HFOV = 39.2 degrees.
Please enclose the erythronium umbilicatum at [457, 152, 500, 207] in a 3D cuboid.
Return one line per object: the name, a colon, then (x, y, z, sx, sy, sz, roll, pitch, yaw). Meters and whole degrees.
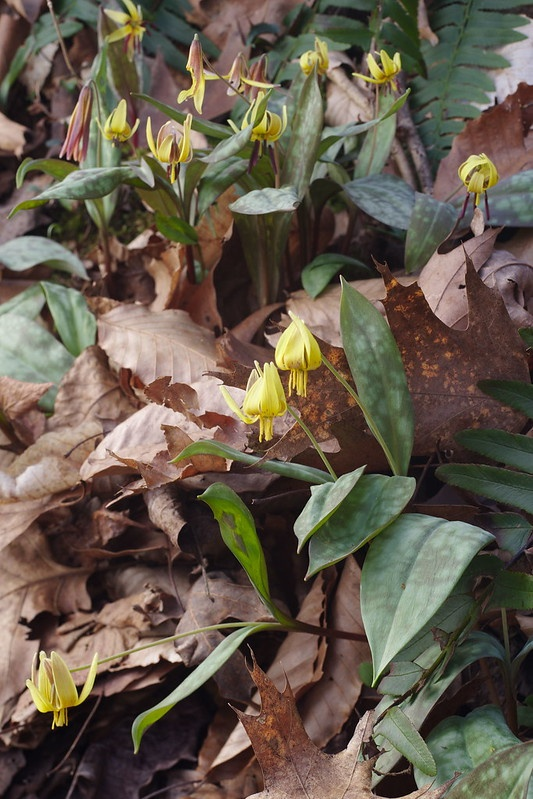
erythronium umbilicatum: (0.379, -0.422, 1.377, 0.057, 0.085, 0.090, -11, 57, -7)
